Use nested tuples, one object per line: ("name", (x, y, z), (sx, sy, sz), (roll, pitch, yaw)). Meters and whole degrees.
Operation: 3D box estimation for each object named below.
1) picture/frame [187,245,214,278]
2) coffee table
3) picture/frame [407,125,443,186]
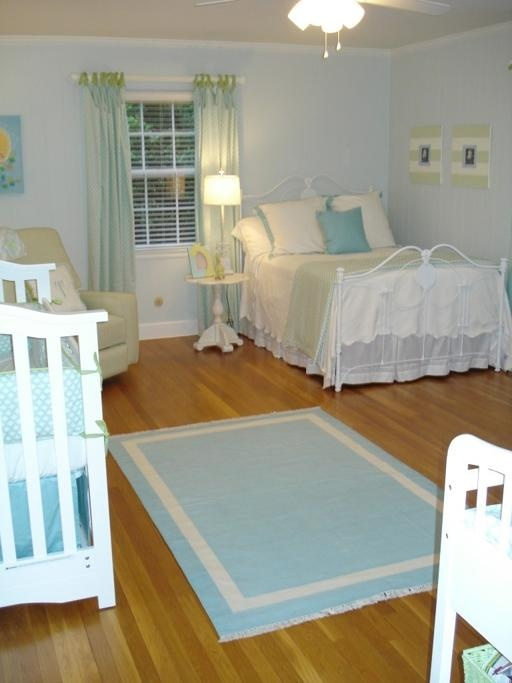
("picture/frame", (-0.501, -0.739, 4.927), (0.262, 0.401, 0.035), (-13, 0, -29))
("coffee table", (-0.359, -0.343, 5.118), (0.618, 0.806, 0.658), (-7, 17, -21))
("picture/frame", (1.692, -1.873, 5.361), (0.042, 0.692, 0.562), (-7, 14, -22))
